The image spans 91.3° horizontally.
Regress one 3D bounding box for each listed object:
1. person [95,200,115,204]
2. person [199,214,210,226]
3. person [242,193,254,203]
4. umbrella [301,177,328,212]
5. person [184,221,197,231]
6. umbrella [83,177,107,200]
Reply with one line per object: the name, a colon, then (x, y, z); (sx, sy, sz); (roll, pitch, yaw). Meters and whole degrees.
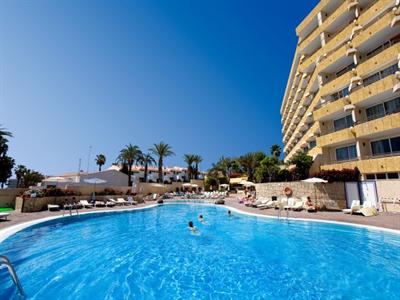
person: (-10.791, 6.122, 22.571); (0.788, 0.258, 1.805); (0, -7, 25)
person: (0.415, 5.682, 15.920); (0.839, 0.688, 1.410); (0, 0, -6)
person: (7.077, 6.975, 28.189); (1.393, 0.847, 1.957); (0, -2, 28)
umbrella: (12.149, 4.160, 19.673); (2.840, 3.393, 2.739); (2, -6, -6)
person: (-0.560, 5.363, 13.905); (0.703, 0.691, 0.761); (1, 1, -3)
umbrella: (-13.750, 5.056, 25.579); (3.255, 3.049, 3.178); (-2, -4, -1)
